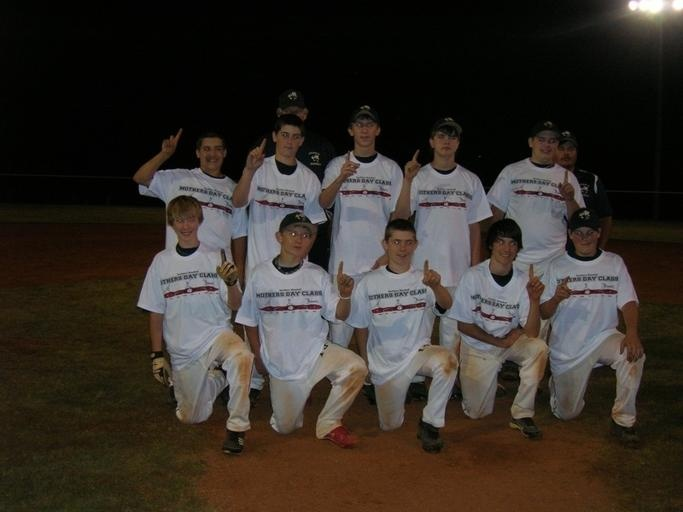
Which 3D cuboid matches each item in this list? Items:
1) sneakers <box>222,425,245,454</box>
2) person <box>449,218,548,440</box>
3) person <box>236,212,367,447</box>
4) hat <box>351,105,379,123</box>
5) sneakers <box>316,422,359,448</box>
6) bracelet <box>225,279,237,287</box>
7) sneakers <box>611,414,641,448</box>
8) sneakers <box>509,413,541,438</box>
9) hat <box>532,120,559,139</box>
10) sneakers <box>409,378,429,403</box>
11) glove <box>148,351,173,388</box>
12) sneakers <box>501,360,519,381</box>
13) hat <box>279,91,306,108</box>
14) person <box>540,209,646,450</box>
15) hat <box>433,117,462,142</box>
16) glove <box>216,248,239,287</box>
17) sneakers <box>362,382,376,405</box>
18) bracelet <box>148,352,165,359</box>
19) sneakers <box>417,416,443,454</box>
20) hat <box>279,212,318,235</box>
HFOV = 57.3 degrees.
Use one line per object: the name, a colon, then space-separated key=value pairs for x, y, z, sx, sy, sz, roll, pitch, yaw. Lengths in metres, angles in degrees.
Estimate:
sneakers: x=-0.952 y=1.620 z=5.584 sx=0.159 sy=0.217 sz=0.290 roll=0 pitch=10 yaw=1
person: x=1.581 y=0.659 z=6.199 sx=0.962 sy=2.004 sz=0.699 roll=8 pitch=13 yaw=37
person: x=-0.337 y=0.652 z=5.885 sx=1.178 sy=2.043 sz=0.580 roll=7 pitch=12 yaw=31
hat: x=0.256 y=-1.556 z=6.886 sx=0.284 sy=0.184 sz=0.288 roll=0 pitch=10 yaw=0
sneakers: x=0.006 y=1.638 z=5.753 sx=0.288 sy=0.123 sz=0.153 roll=0 pitch=1 yaw=42
bracelet: x=-0.990 y=0.239 z=5.650 sx=0.081 sy=0.058 sz=0.080 roll=1 pitch=8 yaw=-27
sneakers: x=2.608 y=1.588 z=5.826 sx=0.114 sy=0.372 sz=0.209 roll=-24 pitch=-24 yaw=31
sneakers: x=1.750 y=1.602 z=5.940 sx=0.125 sy=0.130 sz=0.306 roll=3 pitch=2 yaw=-22
hat: x=2.400 y=-1.487 z=7.330 sx=0.369 sy=0.180 sz=0.320 roll=-9 pitch=14 yaw=-43
sneakers: x=0.851 y=1.473 z=6.876 sx=0.391 sy=0.257 sz=0.127 roll=6 pitch=-5 yaw=-18
glove: x=-1.707 y=1.061 z=6.045 sx=0.235 sy=0.399 sz=0.106 roll=0 pitch=17 yaw=24
sneakers: x=2.042 y=1.380 z=7.576 sx=0.179 sy=0.089 sz=0.248 roll=-1 pitch=37 yaw=10
hat: x=-0.625 y=-1.983 z=7.962 sx=0.337 sy=0.236 sz=0.456 roll=1 pitch=-8 yaw=-3
person: x=2.510 y=0.602 z=6.187 sx=1.070 sy=2.077 sz=0.797 roll=9 pitch=14 yaw=40
hat: x=1.157 y=-1.396 z=6.852 sx=0.331 sy=0.216 sz=0.261 roll=0 pitch=10 yaw=-4
glove: x=-1.014 y=0.115 z=5.691 sx=0.180 sy=0.361 sz=0.132 roll=-17 pitch=0 yaw=-1
sneakers: x=0.313 y=1.482 z=6.790 sx=0.080 sy=0.220 sz=0.134 roll=-1 pitch=6 yaw=37
bracelet: x=-1.781 y=0.952 z=6.065 sx=0.119 sy=0.075 sz=0.115 roll=4 pitch=-5 yaw=-35
sneakers: x=0.809 y=1.609 z=5.715 sx=0.165 sy=0.211 sz=0.450 roll=4 pitch=6 yaw=-12
hat: x=-0.396 y=-0.315 z=5.937 sx=0.301 sy=0.179 sz=0.311 roll=5 pitch=11 yaw=23
